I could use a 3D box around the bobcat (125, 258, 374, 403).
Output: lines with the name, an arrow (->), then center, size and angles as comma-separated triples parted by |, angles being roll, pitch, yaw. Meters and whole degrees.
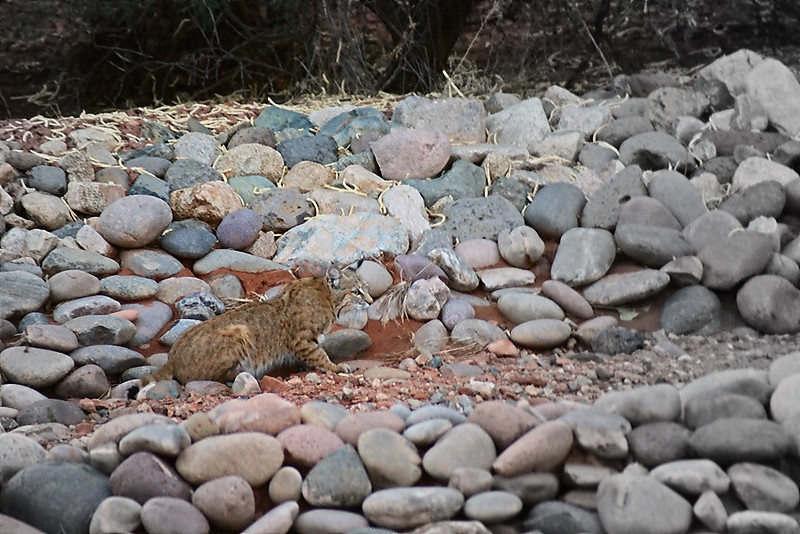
bobcat -> -1.436, 0.652, 10.121 | 2.489, 0.961, 0.800 | -9, 7, -34
